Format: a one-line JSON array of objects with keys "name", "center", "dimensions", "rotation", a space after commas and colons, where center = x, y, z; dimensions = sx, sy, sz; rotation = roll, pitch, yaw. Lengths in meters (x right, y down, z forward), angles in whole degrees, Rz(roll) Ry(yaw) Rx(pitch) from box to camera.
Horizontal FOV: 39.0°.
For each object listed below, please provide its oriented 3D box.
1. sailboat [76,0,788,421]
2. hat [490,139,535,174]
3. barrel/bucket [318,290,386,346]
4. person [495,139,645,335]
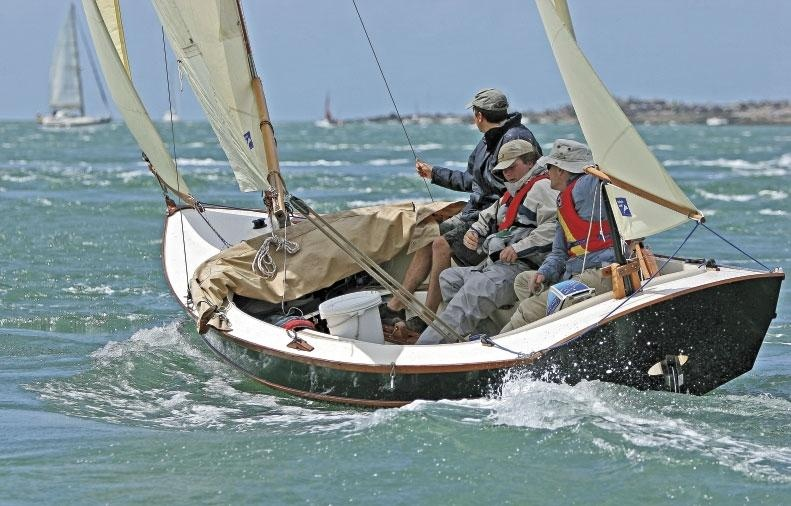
[{"name": "sailboat", "center": [-0.379, -0.842, 12.338], "dimensions": [9.053, 4.967, 3.305], "rotation": [8, 20, 34]}, {"name": "hat", "center": [1.106, -0.956, 10.615], "dimensions": [0.476, 0.233, 0.315], "rotation": [-18, 4, -26]}, {"name": "barrel/bucket", "center": [-0.379, 0.597, 10.233], "dimensions": [0.529, 0.487, 0.488], "rotation": [-6, 15, 2]}, {"name": "person", "center": [1.536, -0.195, 10.113], "dimensions": [0.873, 1.653, 0.416], "rotation": [-3, 5, 10]}]
